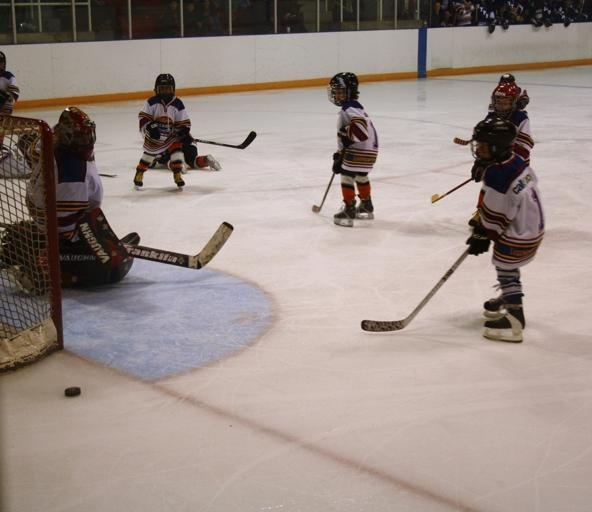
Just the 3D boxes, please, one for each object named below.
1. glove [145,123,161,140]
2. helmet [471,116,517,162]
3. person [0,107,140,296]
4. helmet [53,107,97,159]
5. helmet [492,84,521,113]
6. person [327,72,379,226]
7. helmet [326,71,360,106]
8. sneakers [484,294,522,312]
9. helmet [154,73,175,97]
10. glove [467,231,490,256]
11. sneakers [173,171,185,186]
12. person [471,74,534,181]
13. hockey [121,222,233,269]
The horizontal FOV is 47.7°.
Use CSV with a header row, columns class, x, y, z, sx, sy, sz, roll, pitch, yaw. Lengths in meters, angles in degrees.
class,x,y,z,sx,sy,sz,roll,pitch,yaw
glove,-1.328,-1.151,6.149,0.078,0.158,0.112,11,21,40
helmet,0.835,-0.483,2.810,0.235,0.175,0.176,10,18,34
person,-1.235,-0.276,3.452,0.617,0.948,0.638,-3,16,-2
helmet,-1.148,-0.625,3.448,0.203,0.268,0.218,-8,16,-17
helmet,1.355,-1.035,4.403,0.195,0.180,0.244,8,11,32
person,0.428,-0.792,4.939,0.348,1.094,0.548,-2,17,5
helmet,0.344,-1.228,4.938,0.216,0.236,0.241,-2,15,1
sneakers,0.966,0.217,3.085,0.204,0.077,0.066,-11,31,32
helmet,-1.175,-1.553,6.086,0.214,0.193,0.248,-2,6,-6
glove,0.785,-0.052,2.906,0.118,0.088,0.030,-3,12,-8
sneakers,-1.080,-0.698,6.132,0.083,0.148,0.200,-7,15,-12
person,1.375,-0.757,4.453,0.470,0.788,0.377,0,9,8
hockey,-0.673,-0.081,3.513,0.925,0.240,0.015,9,7,41
